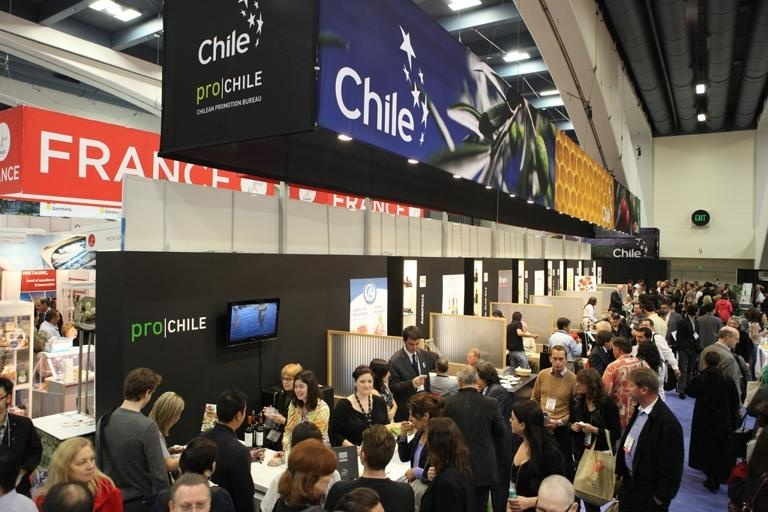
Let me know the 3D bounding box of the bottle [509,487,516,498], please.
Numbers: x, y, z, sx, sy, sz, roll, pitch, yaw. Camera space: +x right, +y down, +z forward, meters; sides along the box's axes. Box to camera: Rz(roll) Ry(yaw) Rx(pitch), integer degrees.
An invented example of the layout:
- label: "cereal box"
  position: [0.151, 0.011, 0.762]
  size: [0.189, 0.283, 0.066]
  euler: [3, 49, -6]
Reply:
- label: "bottle"
  position: [1.158, 2.093, 4.916]
  size: [0.065, 0.107, 0.174]
  euler: [0, -4, 13]

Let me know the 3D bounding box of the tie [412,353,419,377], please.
- label: "tie"
  position: [0.412, 1.384, 7.031]
  size: [0.067, 0.289, 0.073]
  euler: [-4, -13, 3]

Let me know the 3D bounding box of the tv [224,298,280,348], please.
- label: "tv"
  position: [-1.646, 0.796, 6.776]
  size: [0.047, 0.486, 0.637]
  euler: [6, 5, 40]

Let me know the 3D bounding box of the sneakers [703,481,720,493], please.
- label: "sneakers"
  position: [4.126, 2.885, 6.926]
  size: [0.074, 0.143, 0.191]
  euler: [0, 6, -18]

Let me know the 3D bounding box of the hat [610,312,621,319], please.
- label: "hat"
  position: [3.881, 0.984, 9.184]
  size: [0.102, 0.129, 0.134]
  euler: [2, -13, 19]
